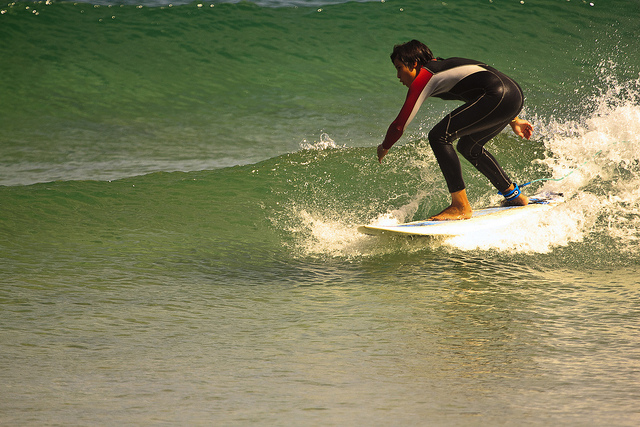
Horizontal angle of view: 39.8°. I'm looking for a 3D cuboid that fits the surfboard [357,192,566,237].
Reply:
[{"bbox_3d":[1.999,0.079,11.836,2.905,0.198,0.515,-10,5,-7],"label":"surfboard"}]
